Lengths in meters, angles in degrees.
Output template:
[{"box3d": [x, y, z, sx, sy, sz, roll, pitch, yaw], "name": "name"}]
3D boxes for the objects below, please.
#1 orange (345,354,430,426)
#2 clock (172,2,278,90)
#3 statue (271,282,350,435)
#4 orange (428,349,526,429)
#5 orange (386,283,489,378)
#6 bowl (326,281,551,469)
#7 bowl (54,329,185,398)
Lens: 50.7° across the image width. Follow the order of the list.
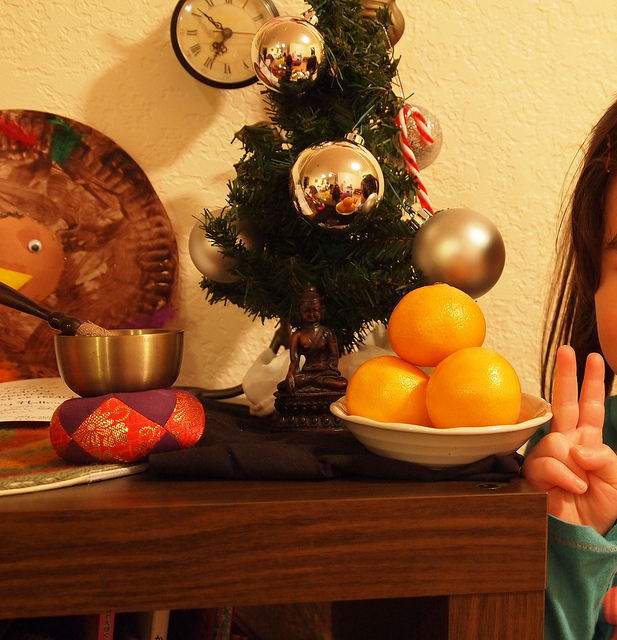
[{"box3d": [0.085, 0.070, 0.646, 0.087, 0.086, 0.070, -2, 94, 18], "name": "orange"}, {"box3d": [-0.126, -0.415, 0.986, 0.156, 0.091, 0.100, 0, 68, -3], "name": "clock"}, {"box3d": [0.006, 0.041, 0.754, 0.117, 0.075, 0.157, -3, 96, 31], "name": "statue"}, {"box3d": [0.166, 0.070, 0.604, 0.100, 0.096, 0.079, -3, 80, 42], "name": "orange"}, {"box3d": [0.137, 0.008, 0.658, 0.106, 0.096, 0.081, -1, 98, 30], "name": "orange"}, {"box3d": [0.134, 0.054, 0.661, 0.230, 0.183, 0.137, 0, 84, 9], "name": "bowl"}, {"box3d": [-0.193, 0.046, 0.736, 0.175, 0.146, 0.060, 14, 107, 54], "name": "bowl"}]
